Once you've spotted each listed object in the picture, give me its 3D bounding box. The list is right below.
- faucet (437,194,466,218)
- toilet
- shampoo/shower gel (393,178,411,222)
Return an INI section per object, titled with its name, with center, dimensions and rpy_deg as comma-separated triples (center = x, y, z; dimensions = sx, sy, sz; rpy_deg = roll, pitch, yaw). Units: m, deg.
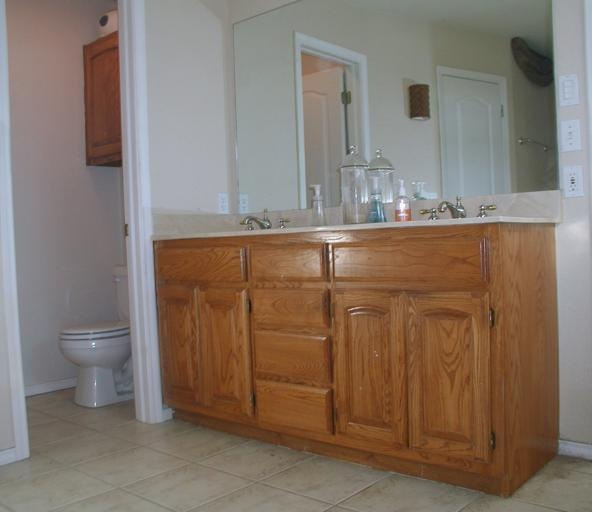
[faucet]
center = 0.650, -0.204, 2.123
dimensions = 0.067, 0.118, 0.215
rpy_deg = 2, 3, 38
[toilet]
center = -1.157, 0.640, 3.080
dimensions = 0.412, 0.557, 0.257
rpy_deg = -5, 3, -34
[shampoo/shower gel]
center = 0.467, -0.252, 2.282
dimensions = 0.076, 0.196, 0.267
rpy_deg = -3, 2, 11
